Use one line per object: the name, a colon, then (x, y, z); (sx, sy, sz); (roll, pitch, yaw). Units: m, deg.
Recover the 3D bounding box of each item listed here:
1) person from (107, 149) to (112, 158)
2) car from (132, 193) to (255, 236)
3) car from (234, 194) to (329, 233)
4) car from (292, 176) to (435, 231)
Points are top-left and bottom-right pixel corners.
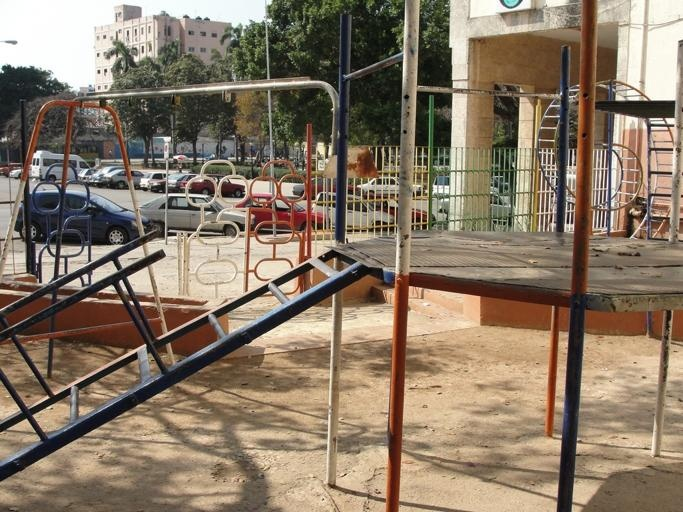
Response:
person: (-23.812, -10.720, 85.969); (0.424, 0.841, 1.362); (0, 5, -8)
car: (-3.821, -1.075, 21.239); (3.180, 0.914, 1.616); (0, 11, 0)
car: (-1.336, -1.167, 19.285); (2.497, 0.793, 1.321); (-1, 11, 2)
car: (0.422, -0.661, 13.115); (2.384, 0.968, 1.261); (-2, 11, -8)
